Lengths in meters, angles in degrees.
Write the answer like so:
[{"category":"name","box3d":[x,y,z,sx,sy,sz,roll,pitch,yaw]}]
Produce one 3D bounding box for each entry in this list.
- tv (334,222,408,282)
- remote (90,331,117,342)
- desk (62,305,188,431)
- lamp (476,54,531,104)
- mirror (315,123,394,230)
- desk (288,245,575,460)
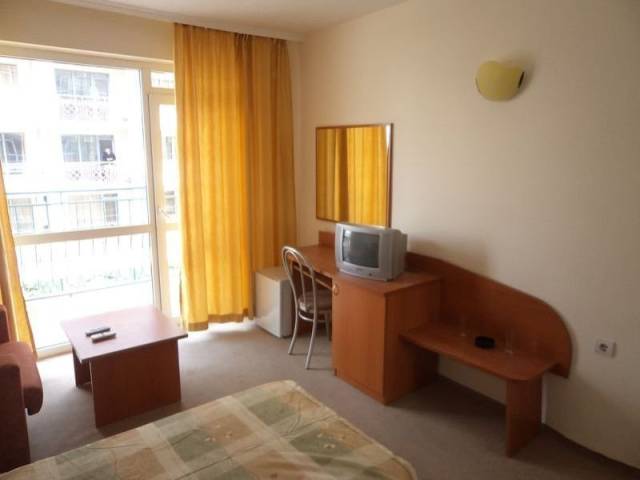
[{"category":"tv","box3d":[0.405,0.066,3.967,0.398,0.472,0.618,-7,10,-43]},{"category":"remote","box3d":[-1.593,0.710,3.605,0.104,0.026,0.076,-7,15,-34]},{"category":"desk","box3d":[-1.585,0.946,3.905,0.761,0.541,0.957,-8,13,-39]},{"category":"lamp","box3d":[1.252,-1.110,3.417,0.382,0.294,0.139,7,16,33]},{"category":"mirror","box3d":[0.287,-0.601,4.596,0.870,0.894,0.062,-2,2,-23]},{"category":"desk","box3d":[0.585,0.675,4.097,0.698,1.257,2.526,-14,23,-38]}]
